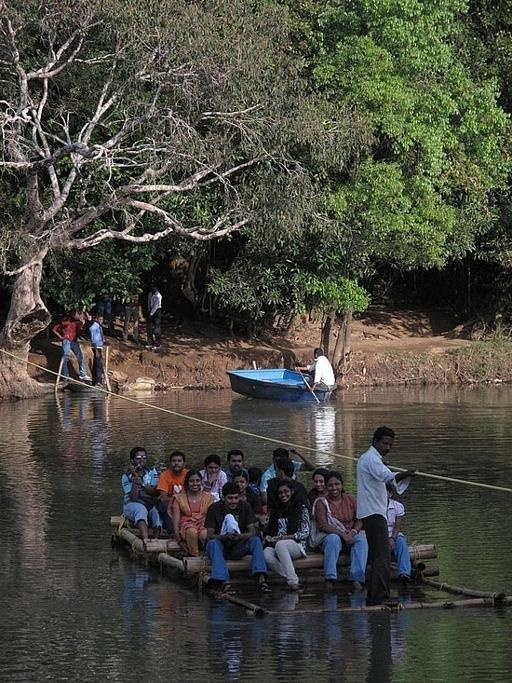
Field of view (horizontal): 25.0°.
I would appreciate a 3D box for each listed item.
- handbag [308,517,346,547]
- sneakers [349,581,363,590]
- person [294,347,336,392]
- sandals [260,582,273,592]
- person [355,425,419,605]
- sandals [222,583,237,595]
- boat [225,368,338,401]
[{"bbox_3d":[0.643,1.812,10.946,0.224,0.158,0.301,-1,-3,-31],"label":"handbag"},{"bbox_3d":[0.899,2.202,10.443,0.074,0.055,0.141,-4,1,3],"label":"sneakers"},{"bbox_3d":[1.543,0.823,31.630,0.661,1.335,0.836,20,3,-23],"label":"person"},{"bbox_3d":[0.070,2.203,10.349,0.101,0.075,0.140,0,-3,-3],"label":"sandals"},{"bbox_3d":[1.044,1.480,9.813,0.375,1.495,0.655,0,-2,-12],"label":"person"},{"bbox_3d":[-0.249,2.217,10.352,0.091,0.048,0.130,0,1,-4],"label":"sandals"},{"bbox_3d":[0.504,1.269,31.861,1.768,0.494,1.314,4,5,33],"label":"boat"}]
